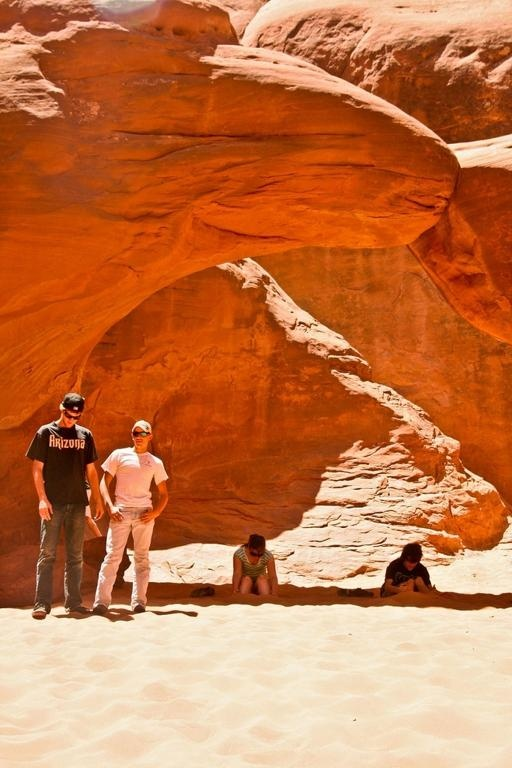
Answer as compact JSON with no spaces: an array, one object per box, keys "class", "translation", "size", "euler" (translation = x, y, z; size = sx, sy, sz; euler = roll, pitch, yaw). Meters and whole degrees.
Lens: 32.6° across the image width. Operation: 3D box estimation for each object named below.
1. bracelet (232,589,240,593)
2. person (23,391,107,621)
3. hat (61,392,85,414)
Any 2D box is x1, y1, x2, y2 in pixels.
[{"class":"bracelet","translation":[-0.129,1.353,5.704],"size":[0.027,0.025,0.028],"euler":[14,-25,-28]},{"class":"person","translation":[-1.033,0.631,4.696],"size":[0.422,1.168,0.436],"euler":[4,-4,-22]},{"class":"hat","translation":[-0.971,0.101,4.699],"size":[0.105,0.098,0.133],"euler":[5,22,-33]}]
